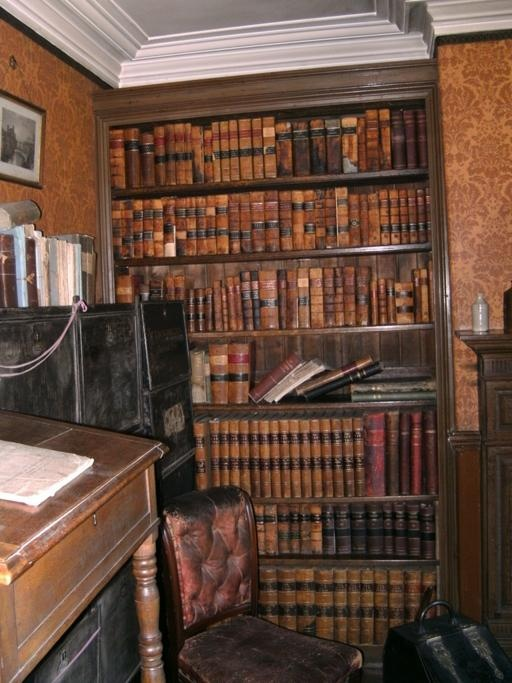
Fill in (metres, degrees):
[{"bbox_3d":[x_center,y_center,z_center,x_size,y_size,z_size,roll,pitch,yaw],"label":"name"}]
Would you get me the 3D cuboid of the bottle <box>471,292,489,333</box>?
[{"bbox_3d":[0.851,-0.104,2.342,0.059,0.139,0.118,-1,3,20],"label":"bottle"}]
